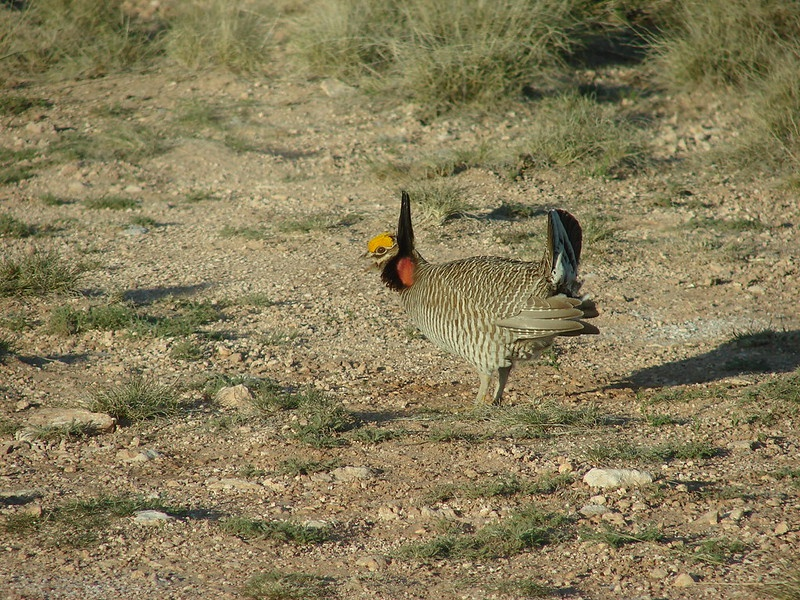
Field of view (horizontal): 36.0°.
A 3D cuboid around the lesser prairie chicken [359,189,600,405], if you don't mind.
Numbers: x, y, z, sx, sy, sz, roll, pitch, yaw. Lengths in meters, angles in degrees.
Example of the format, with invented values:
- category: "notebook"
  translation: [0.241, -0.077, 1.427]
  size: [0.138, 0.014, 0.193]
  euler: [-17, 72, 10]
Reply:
- category: "lesser prairie chicken"
  translation: [0.960, -0.062, 11.059]
  size: [1.996, 1.876, 3.302]
  euler: [4, 15, 15]
